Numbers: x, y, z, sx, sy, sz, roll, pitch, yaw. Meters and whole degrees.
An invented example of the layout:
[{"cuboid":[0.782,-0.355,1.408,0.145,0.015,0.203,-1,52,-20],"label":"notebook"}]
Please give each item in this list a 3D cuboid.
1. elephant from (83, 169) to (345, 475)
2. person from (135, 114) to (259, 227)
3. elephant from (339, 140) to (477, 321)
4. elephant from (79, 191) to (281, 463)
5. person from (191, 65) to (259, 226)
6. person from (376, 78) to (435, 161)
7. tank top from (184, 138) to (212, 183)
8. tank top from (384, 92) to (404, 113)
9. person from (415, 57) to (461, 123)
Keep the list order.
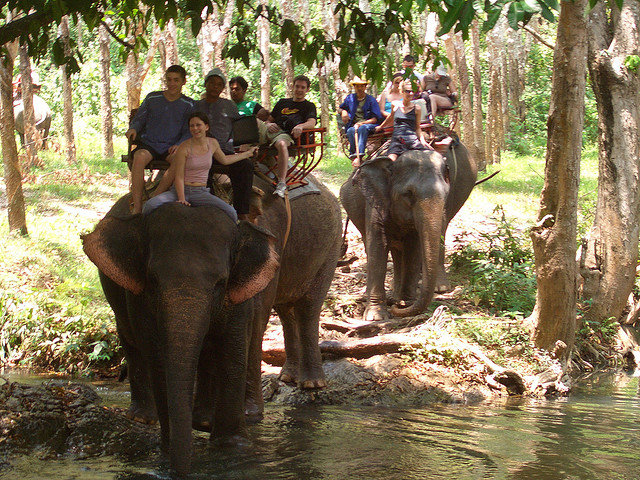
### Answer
[{"cuboid":[-0.770,0.371,4.800,1.351,1.852,2.845,3,0,12],"label":"elephant"},{"cuboid":[-0.706,-0.393,4.031,0.814,0.657,0.373,-1,18,-31],"label":"person"},{"cuboid":[1.012,-0.188,7.861,1.438,2.100,1.988,3,0,10],"label":"elephant"},{"cuboid":[-0.896,0.552,4.283,1.342,1.447,2.159,2,-6,-11],"label":"elephant"},{"cuboid":[-0.677,-0.680,4.726,0.552,1.077,0.641,-8,12,-27],"label":"person"},{"cuboid":[0.977,-1.246,7.784,0.728,1.212,0.664,0,20,6],"label":"person"},{"cuboid":[-0.745,-0.468,4.022,0.170,0.260,0.115,3,0,-23],"label":"tank top"},{"cuboid":[0.912,-1.671,8.087,0.181,0.188,0.217,-1,5,-9],"label":"tank top"},{"cuboid":[1.568,-1.966,9.007,0.581,1.104,0.745,4,1,21],"label":"person"}]
